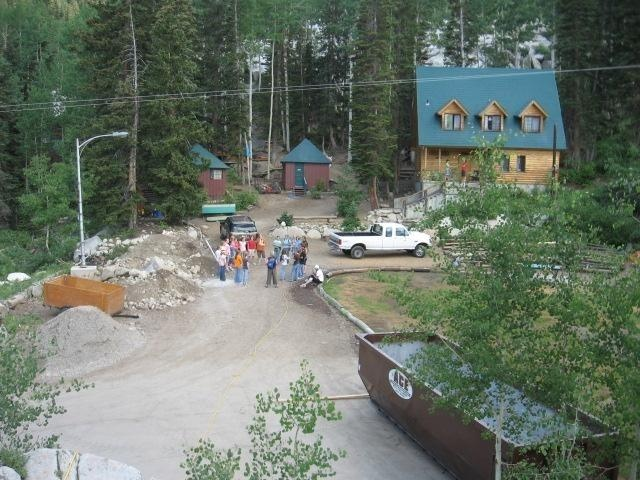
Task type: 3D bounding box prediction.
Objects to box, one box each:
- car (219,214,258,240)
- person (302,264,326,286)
[{"bbox_3d":[-5.433,-0.631,42.738,1.264,1.285,2.788,0,18,-18],"label":"car"},{"bbox_3d":[-0.328,1.808,35.720,1.144,1.185,2.530,-2,7,1],"label":"person"}]
